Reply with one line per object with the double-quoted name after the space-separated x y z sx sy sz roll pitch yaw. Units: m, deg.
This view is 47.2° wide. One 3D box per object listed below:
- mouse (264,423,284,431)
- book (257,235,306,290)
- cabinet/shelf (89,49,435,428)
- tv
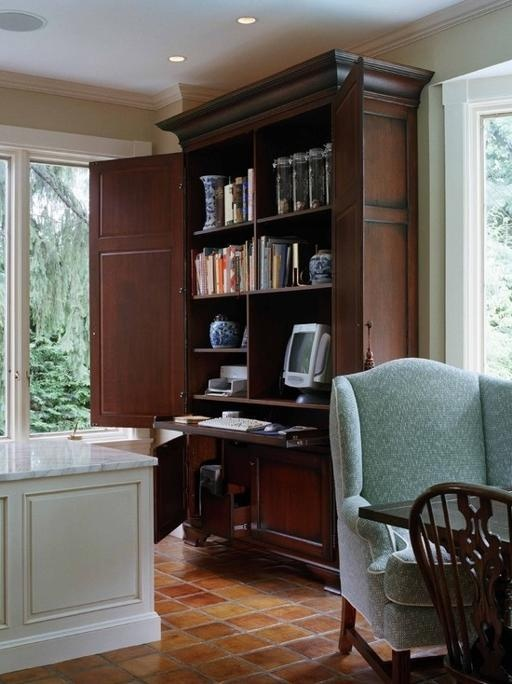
0.090 0.449 3.089 0.062 0.028 0.088 -2 -4 33 "mouse"
0.134 -0.453 3.534 0.271 0.368 0.304 3 -3 -38 "book"
0.003 -0.420 3.663 0.868 2.175 2.442 -1 1 -39 "cabinet/shelf"
0.286 0.115 3.222 0.162 0.443 0.424 9 -10 -42 "tv"
